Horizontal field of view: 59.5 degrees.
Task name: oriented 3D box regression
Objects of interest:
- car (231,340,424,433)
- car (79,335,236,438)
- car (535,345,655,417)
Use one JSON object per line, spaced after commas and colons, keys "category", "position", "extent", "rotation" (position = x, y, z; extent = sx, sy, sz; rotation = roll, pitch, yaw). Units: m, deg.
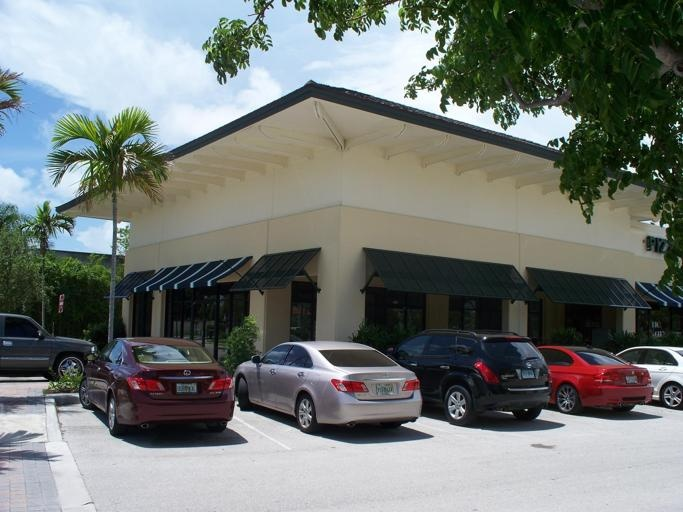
{"category": "car", "position": [-0.513, 2.589, 12.801], "extent": [1.802, 1.221, 3.513], "rotation": [6, -5, -33]}
{"category": "car", "position": [-3.715, 2.531, 11.806], "extent": [3.144, 1.765, 1.766], "rotation": [-2, -5, 43]}
{"category": "car", "position": [6.473, 3.281, 15.914], "extent": [1.477, 1.182, 3.487], "rotation": [3, -3, -21]}
